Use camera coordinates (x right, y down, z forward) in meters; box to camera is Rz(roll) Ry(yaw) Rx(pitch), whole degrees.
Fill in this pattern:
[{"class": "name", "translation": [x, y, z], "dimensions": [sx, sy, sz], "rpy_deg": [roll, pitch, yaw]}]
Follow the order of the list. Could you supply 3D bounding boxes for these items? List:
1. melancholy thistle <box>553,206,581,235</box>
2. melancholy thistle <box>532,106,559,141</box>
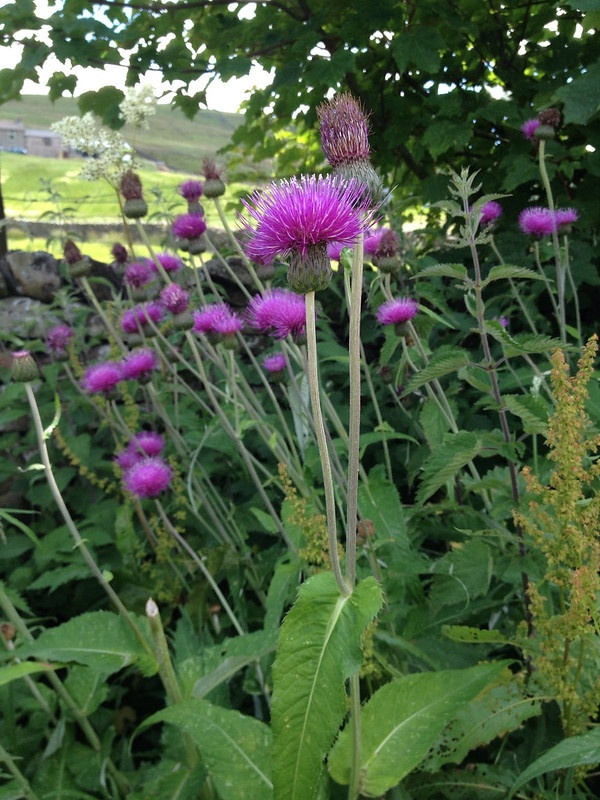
[{"class": "melancholy thistle", "translation": [1.221, -0.825, 3.380], "dimensions": [0.089, 0.123, 0.254], "rpy_deg": [-2, 9, 19]}, {"class": "melancholy thistle", "translation": [1.017, -1.132, 3.029], "dimensions": [0.090, 0.156, 0.198], "rpy_deg": [-2, 9, 17]}]
